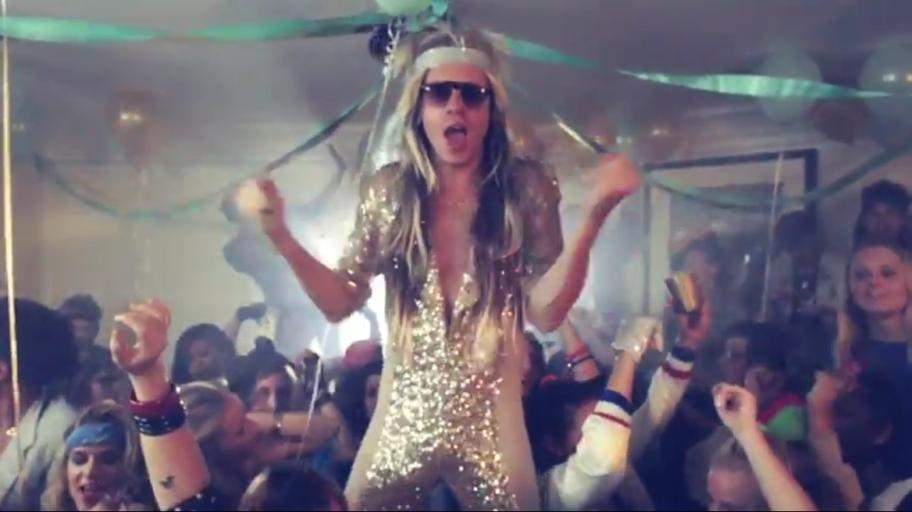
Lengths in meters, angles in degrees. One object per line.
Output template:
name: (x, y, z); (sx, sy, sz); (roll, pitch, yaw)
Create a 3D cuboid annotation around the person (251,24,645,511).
person: (-0.014, 0.105, 4.741); (1.518, 2.158, 0.359); (-2, -7, 11)

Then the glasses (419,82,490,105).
glasses: (-0.013, -0.769, 4.696); (0.316, 0.117, 0.035); (-1, -7, 1)
